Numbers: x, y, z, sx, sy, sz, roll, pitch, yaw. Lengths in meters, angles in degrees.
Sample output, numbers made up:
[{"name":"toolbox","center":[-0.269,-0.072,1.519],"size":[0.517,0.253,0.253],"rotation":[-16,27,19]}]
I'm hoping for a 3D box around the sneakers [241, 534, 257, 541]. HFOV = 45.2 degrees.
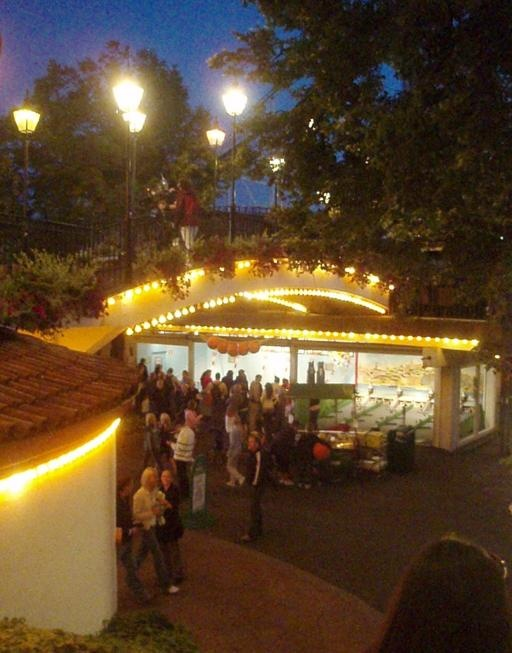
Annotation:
[{"name":"sneakers","center":[-0.110,3.256,9.565],"size":[0.237,0.091,0.286],"rotation":[1,1,-2]}]
